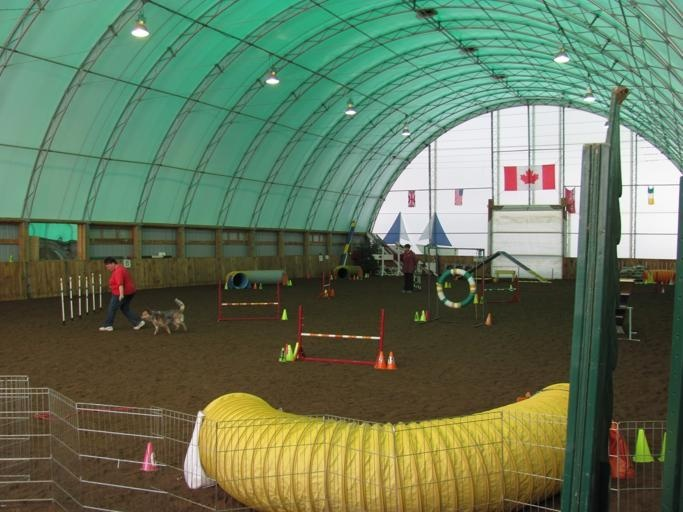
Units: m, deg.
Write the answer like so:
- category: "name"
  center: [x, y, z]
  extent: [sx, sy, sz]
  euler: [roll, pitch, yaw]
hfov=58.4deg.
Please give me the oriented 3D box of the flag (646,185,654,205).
- category: "flag"
  center: [21.658, -4.224, 42.518]
  extent: [0.590, 1.349, 0.384]
  euler: [0, 3, 6]

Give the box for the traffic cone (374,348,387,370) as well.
- category: "traffic cone"
  center: [0.775, 1.996, 12.000]
  extent: [0.250, 0.327, 0.491]
  euler: [0, 3, 3]

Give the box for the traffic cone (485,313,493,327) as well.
- category: "traffic cone"
  center: [4.411, 1.875, 18.199]
  extent: [0.219, 0.354, 0.224]
  euler: [-13, 15, -41]

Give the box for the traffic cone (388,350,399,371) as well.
- category: "traffic cone"
  center: [0.991, 2.023, 12.061]
  extent: [0.271, 0.380, 0.233]
  euler: [-10, 11, -33]

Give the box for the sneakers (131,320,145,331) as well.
- category: "sneakers"
  center: [-5.547, 1.889, 16.643]
  extent: [0.156, 0.193, 0.451]
  euler: [35, -37, -8]

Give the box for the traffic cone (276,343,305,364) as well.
- category: "traffic cone"
  center: [-1.067, 1.945, 12.757]
  extent: [0.520, 0.358, 0.666]
  euler: [0, 3, -5]

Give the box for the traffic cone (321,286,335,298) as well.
- category: "traffic cone"
  center: [-0.634, 1.619, 28.122]
  extent: [0.467, 0.449, 0.356]
  euler: [3, 11, 13]

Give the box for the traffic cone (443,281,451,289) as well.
- category: "traffic cone"
  center: [5.828, 1.540, 33.321]
  extent: [0.253, 0.311, 0.820]
  euler: [1, 5, 15]

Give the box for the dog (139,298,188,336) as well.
- category: "dog"
  center: [-4.633, 1.550, 15.871]
  extent: [1.120, 0.775, 0.335]
  euler: [-6, -6, -33]

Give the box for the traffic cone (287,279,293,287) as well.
- category: "traffic cone"
  center: [-2.976, 1.518, 35.258]
  extent: [0.314, 0.326, 0.332]
  euler: [2, -8, -36]

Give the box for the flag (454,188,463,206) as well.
- category: "flag"
  center: [8.998, -4.497, 46.490]
  extent: [0.666, 1.173, 1.373]
  euler: [1, 3, 24]

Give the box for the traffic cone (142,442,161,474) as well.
- category: "traffic cone"
  center: [-2.277, 2.345, 7.242]
  extent: [0.197, 0.325, 0.718]
  euler: [-1, 3, -18]

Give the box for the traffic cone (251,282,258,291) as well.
- category: "traffic cone"
  center: [-4.740, 1.569, 33.033]
  extent: [0.413, 0.583, 0.359]
  euler: [1, -4, -3]

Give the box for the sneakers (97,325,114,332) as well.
- category: "sneakers"
  center: [-6.370, 1.918, 16.358]
  extent: [0.449, 0.186, 0.158]
  euler: [4, -3, 15]
